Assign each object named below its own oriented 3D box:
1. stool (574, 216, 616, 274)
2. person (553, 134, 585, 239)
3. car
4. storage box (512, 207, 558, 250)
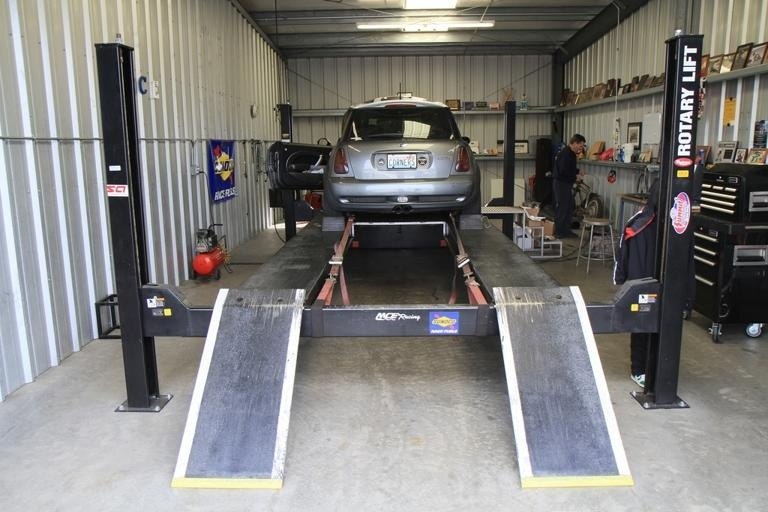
[{"bbox_3d":[3.716,-0.169,9.513,0.668,0.816,0.675,-1,-3,-20],"label":"stool"},{"bbox_3d":[3.707,-1.435,11.285,0.494,2.005,0.829,5,17,24],"label":"person"},{"bbox_3d":[0.030,-1.462,7.978,2.806,1.550,3.731,1,12,10],"label":"car"},{"bbox_3d":[2.657,-0.433,9.771,0.768,0.806,1.113,-2,14,1],"label":"storage box"}]
